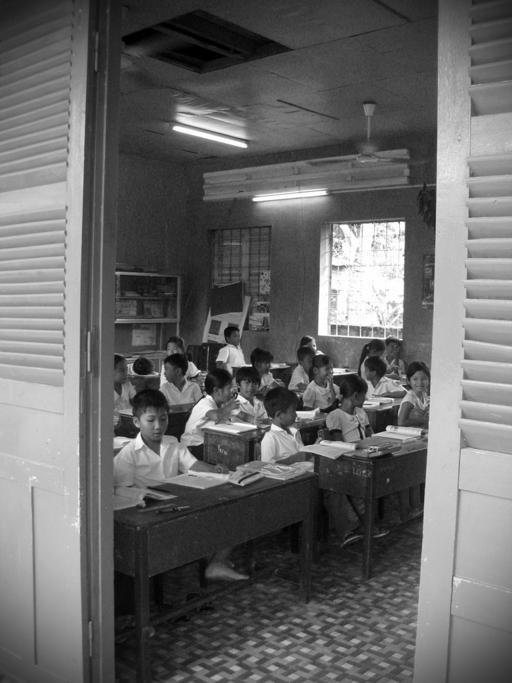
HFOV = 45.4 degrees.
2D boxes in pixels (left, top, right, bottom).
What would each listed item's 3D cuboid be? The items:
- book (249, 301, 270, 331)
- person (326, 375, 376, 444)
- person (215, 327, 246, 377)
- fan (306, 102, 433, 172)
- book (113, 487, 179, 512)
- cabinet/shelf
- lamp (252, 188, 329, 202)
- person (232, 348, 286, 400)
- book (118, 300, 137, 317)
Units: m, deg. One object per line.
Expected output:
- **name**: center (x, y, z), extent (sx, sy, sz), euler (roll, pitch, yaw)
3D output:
- **book**: center (0.063, -0.408, 9.815), extent (0.311, 0.489, 0.152), euler (3, -7, 15)
- **person**: center (0.709, 0.527, 4.625), extent (0.268, 0.763, 0.382), euler (4, 13, 33)
- **person**: center (-0.354, 0.129, 8.208), extent (0.267, 0.806, 0.523), euler (2, 10, 24)
- **fan**: center (1.445, -2.697, 7.836), extent (1.402, 0.716, 0.475), euler (10, 15, 35)
- **book**: center (-0.436, 0.624, 2.402), extent (0.144, 0.042, 0.154), euler (0, -4, 42)
- **cabinet/shelf**: center (-1.791, -0.503, 9.986), extent (0.376, 1.428, 1.260), euler (1, 0, 40)
- **lamp**: center (0.470, -2.085, 8.736), extent (0.967, 0.105, 0.153), euler (9, -5, 40)
- **person**: center (0.085, 0.144, 6.134), extent (0.365, 0.752, 0.718), euler (1, 4, 21)
- **book**: center (-2.071, -0.537, 9.898), extent (0.200, 0.303, 0.386), euler (2, 4, 24)
